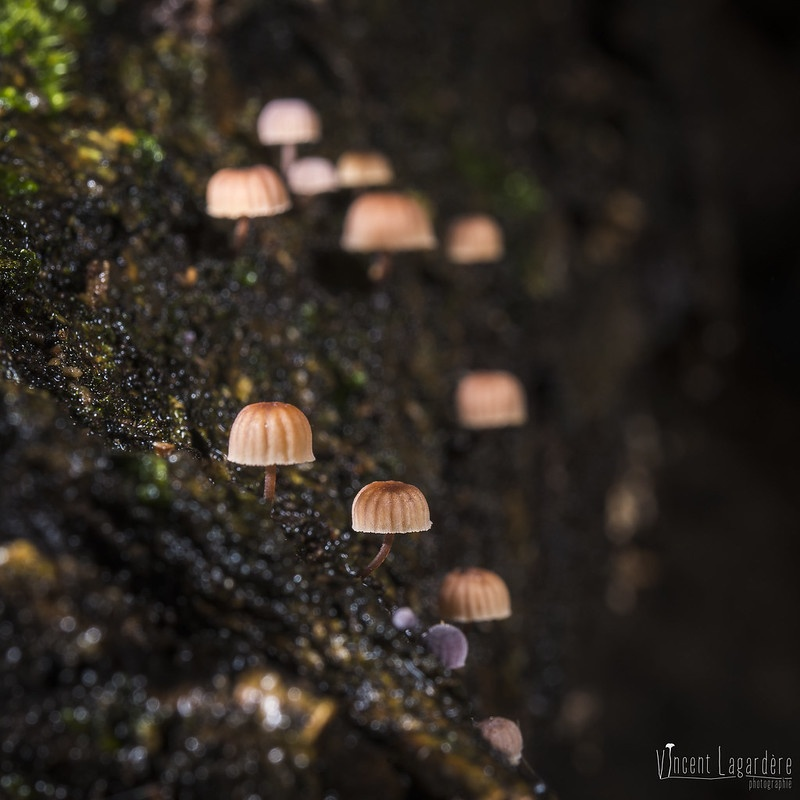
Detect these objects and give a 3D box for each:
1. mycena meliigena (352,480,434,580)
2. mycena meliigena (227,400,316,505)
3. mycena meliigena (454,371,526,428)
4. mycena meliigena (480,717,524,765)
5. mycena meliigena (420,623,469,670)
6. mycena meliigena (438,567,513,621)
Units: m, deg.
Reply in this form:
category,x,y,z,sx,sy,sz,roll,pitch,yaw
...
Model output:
category,x,y,z,sx,sy,sz,roll,pitch,yaw
mycena meliigena,-0.031,0.425,3.763,0.256,0.269,0.314,-4,101,-28
mycena meliigena,-0.416,0.160,3.671,0.294,0.275,0.327,1,105,-20
mycena meliigena,0.314,0.003,4.016,0.215,0.213,0.146,0,88,-25
mycena meliigena,0.344,1.120,3.845,0.152,0.126,0.083,40,71,-10
mycena meliigena,0.161,0.833,3.889,0.120,0.132,0.166,-30,68,-9
mycena meliigena,0.255,0.677,4.023,0.273,0.267,0.150,-2,92,-22
